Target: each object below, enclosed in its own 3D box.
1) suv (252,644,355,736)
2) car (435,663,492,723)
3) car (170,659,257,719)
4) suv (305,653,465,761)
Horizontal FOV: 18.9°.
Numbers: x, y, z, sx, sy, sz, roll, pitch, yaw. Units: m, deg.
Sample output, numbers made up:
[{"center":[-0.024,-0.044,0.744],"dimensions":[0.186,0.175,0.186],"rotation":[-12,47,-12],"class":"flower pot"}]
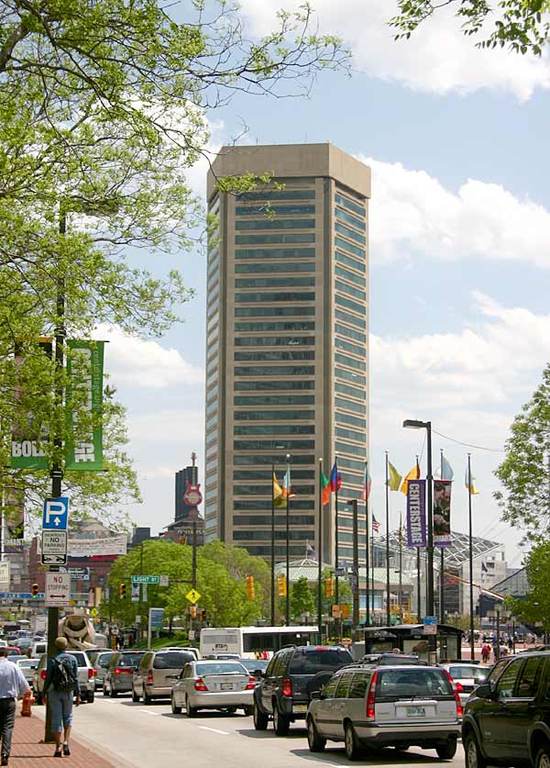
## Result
[{"center":[0.507,5.748,30.881],"dimensions":[1.522,1.720,3.097],"rotation":[3,-9,-16],"class":"suv"},{"center":[3.732,5.942,31.946],"dimensions":[1.004,0.856,2.285],"rotation":[1,-12,-4],"class":"car"},{"center":[-1.256,6.728,36.356],"dimensions":[1.566,1.243,1.927],"rotation":[2,-8,-6],"class":"car"},{"center":[1.496,4.821,24.955],"dimensions":[1.250,1.010,2.307],"rotation":[3,-7,-16],"class":"suv"}]
